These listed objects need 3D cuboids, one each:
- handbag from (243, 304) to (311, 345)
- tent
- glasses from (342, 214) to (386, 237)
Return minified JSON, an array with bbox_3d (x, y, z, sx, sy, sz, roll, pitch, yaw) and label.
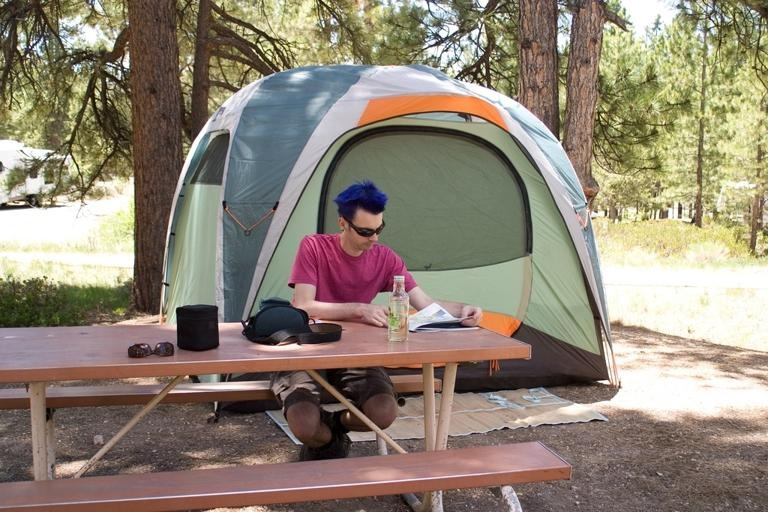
[{"bbox_3d":[-0.821,0.510,5.387,0.528,0.329,0.388,-2,-10,-8],"label":"handbag"},{"bbox_3d":[-0.150,-0.548,8.662,3.952,2.739,3.656,2,-3,-15],"label":"tent"},{"bbox_3d":[-0.160,-0.220,5.625,0.176,0.064,0.223,-7,37,-36],"label":"glasses"}]
